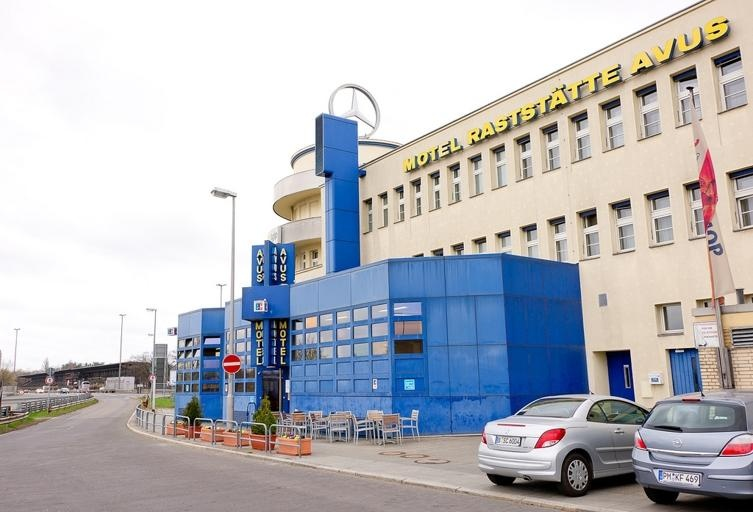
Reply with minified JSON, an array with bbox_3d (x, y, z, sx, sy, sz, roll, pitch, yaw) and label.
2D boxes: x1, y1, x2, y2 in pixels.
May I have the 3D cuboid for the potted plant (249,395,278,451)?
[{"bbox_3d":[-4.310,6.386,23.092,0.939,1.992,1.627,3,-16,-16],"label":"potted plant"}]

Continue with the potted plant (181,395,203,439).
[{"bbox_3d":[-8.665,7.608,28.621,0.749,1.891,1.269,10,-19,-36],"label":"potted plant"}]

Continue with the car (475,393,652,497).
[{"bbox_3d":[4.722,4.750,15.297,3.806,2.412,1.473,3,-16,-17],"label":"car"}]
